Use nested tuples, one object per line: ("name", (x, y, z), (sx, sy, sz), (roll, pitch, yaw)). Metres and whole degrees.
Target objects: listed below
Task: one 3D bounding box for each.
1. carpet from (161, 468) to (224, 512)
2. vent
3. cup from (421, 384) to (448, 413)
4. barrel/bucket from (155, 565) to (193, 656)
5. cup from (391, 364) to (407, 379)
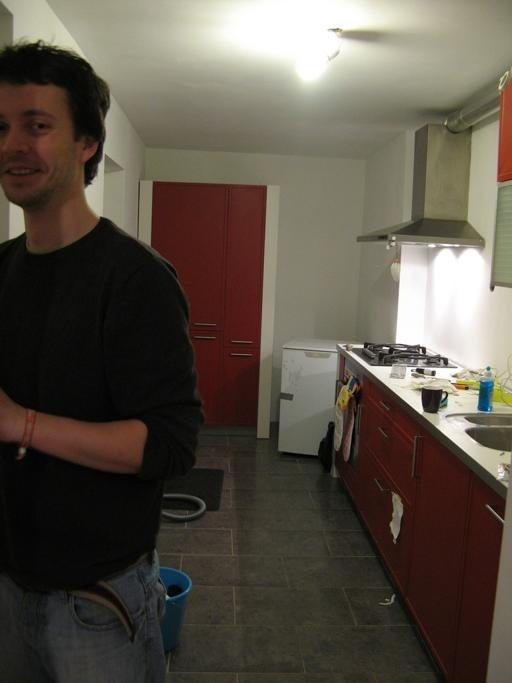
("carpet", (-0.406, 0.990, 3.576), (0.364, 0.009, 0.678), (2, 6, -5))
("vent", (1.242, -1.057, 3.669), (0.605, 0.851, 0.822), (5, 3, 17))
("cup", (0.766, 0.248, 2.209), (0.123, 0.110, 0.089), (2, -2, -13))
("barrel/bucket", (-0.288, 1.053, 1.952), (0.137, 0.154, 0.176), (0, 49, 9))
("cup", (0.790, 0.163, 2.899), (0.084, 0.077, 0.125), (5, 19, 16))
